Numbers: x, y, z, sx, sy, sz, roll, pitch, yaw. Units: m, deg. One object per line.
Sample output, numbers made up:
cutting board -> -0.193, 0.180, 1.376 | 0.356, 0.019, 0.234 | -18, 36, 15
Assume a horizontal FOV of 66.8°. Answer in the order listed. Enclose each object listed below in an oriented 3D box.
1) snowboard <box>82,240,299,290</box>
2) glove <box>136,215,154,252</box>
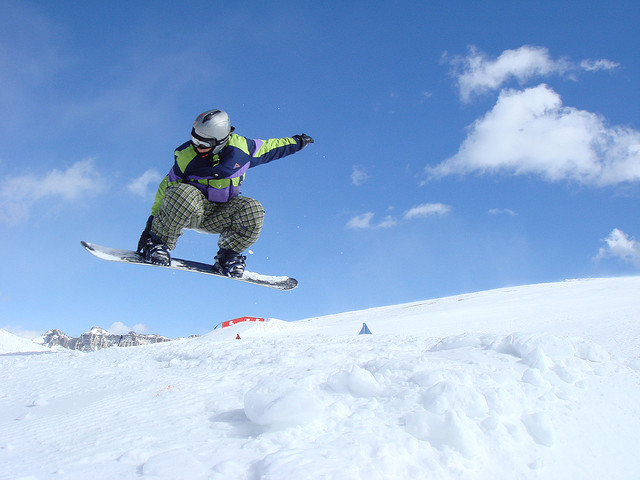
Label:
snowboard -> -1.796, 0.259, 6.526 | 3.374, 0.251, 0.419 | 9, 12, -21
glove -> -2.307, -0.034, 6.497 | 0.111, 0.536, 0.082 | 25, 8, 29
